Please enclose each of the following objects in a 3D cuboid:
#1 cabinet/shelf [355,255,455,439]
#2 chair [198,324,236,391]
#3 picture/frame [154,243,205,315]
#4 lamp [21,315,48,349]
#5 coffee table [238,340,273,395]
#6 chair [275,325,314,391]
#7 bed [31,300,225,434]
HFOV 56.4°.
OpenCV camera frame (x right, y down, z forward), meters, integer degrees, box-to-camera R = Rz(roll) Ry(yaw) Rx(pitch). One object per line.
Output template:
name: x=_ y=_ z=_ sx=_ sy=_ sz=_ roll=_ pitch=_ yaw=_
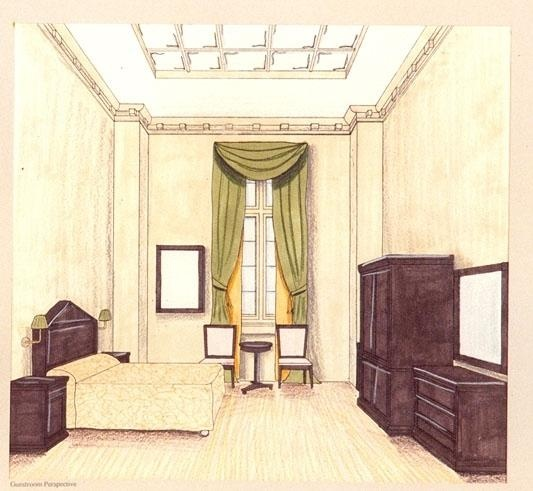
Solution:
cabinet/shelf: x=1.421 y=1.027 z=4.998 sx=0.498 sy=1.717 sz=1.582 roll=0 pitch=-3 yaw=4
chair: x=-0.698 y=1.541 z=7.438 sx=0.485 sy=1.079 sz=0.574 roll=-1 pitch=16 yaw=-7
picture/frame: x=-1.326 y=0.484 z=7.537 sx=0.688 sy=1.153 sz=0.108 roll=0 pitch=26 yaw=-11
lamp: x=-2.237 y=0.823 z=4.768 sx=0.227 sy=0.313 sz=0.118 roll=0 pitch=-1 yaw=-25
coffee table: x=-0.151 y=1.707 z=6.987 sx=0.421 sy=0.687 sz=0.465 roll=1 pitch=1 yaw=-1
chair: x=0.352 y=1.519 z=6.827 sx=0.456 sy=0.902 sz=0.594 roll=1 pitch=-7 yaw=-8
bed: x=-1.417 y=1.156 z=5.413 sx=1.461 sy=1.279 sz=1.188 roll=1 pitch=-1 yaw=-5
